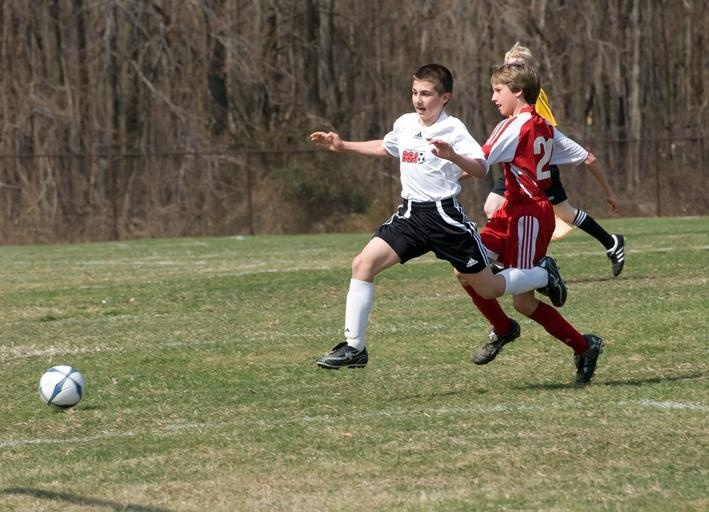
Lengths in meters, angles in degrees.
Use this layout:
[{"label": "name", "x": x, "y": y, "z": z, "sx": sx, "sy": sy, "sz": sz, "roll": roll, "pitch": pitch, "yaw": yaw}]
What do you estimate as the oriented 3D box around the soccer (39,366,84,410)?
[{"label": "soccer", "x": -3.159, "y": 1.453, "z": 13.455, "sx": 0.497, "sy": 0.416, "sz": 0.437, "roll": -5, "pitch": -13, "yaw": -17}]
